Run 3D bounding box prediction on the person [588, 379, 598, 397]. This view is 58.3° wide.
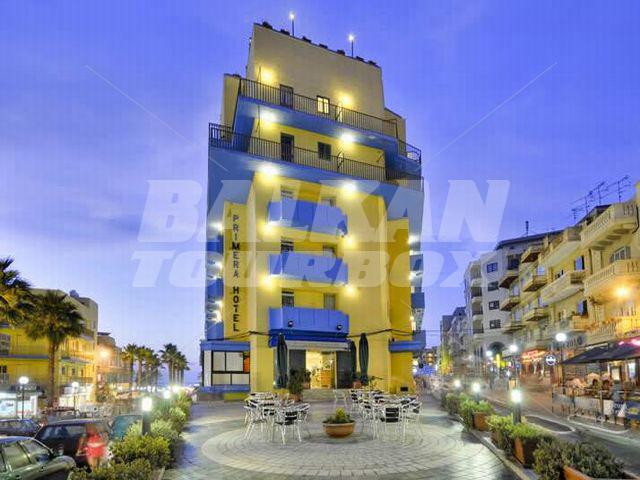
[{"bbox_3d":[15.807,8.533,33.133,0.638,0.988,0.324,2,-7,-24],"label":"person"}]
